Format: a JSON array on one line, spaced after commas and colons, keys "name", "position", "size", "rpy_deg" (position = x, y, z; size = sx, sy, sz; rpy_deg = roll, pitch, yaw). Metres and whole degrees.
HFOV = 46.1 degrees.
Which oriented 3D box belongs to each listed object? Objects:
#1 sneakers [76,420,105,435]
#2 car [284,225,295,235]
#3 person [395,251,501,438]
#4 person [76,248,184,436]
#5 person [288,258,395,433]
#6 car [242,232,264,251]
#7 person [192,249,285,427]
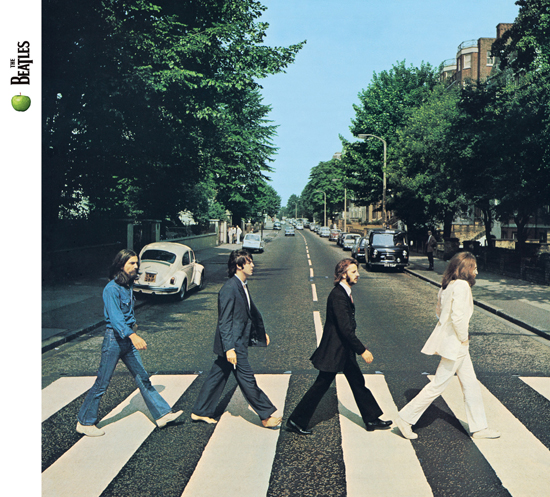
[{"name": "sneakers", "position": [-2.007, 1.960, 7.005], "size": [0.220, 0.126, 0.150], "rpy_deg": [4, 5, -9]}, {"name": "car", "position": [2.069, -2.673, 90.645], "size": [0.946, 1.142, 2.617], "rpy_deg": [0, -1, 2]}, {"name": "person", "position": [1.898, 1.021, 7.038], "size": [0.978, 1.948, 0.516], "rpy_deg": [0, 5, -1]}, {"name": "person", "position": [-1.670, 0.996, 7.212], "size": [1.077, 1.993, 0.759], "rpy_deg": [-2, 5, -23]}, {"name": "person", "position": [0.668, 1.097, 7.161], "size": [0.969, 2.022, 0.666], "rpy_deg": [-1, 11, -1]}, {"name": "car", "position": [-1.438, -0.357, 41.853], "size": [1.133, 1.264, 2.298], "rpy_deg": [1, 6, 1]}, {"name": "person", "position": [-0.450, 0.986, 7.417], "size": [0.990, 1.944, 0.926], "rpy_deg": [0, 5, -8]}]
